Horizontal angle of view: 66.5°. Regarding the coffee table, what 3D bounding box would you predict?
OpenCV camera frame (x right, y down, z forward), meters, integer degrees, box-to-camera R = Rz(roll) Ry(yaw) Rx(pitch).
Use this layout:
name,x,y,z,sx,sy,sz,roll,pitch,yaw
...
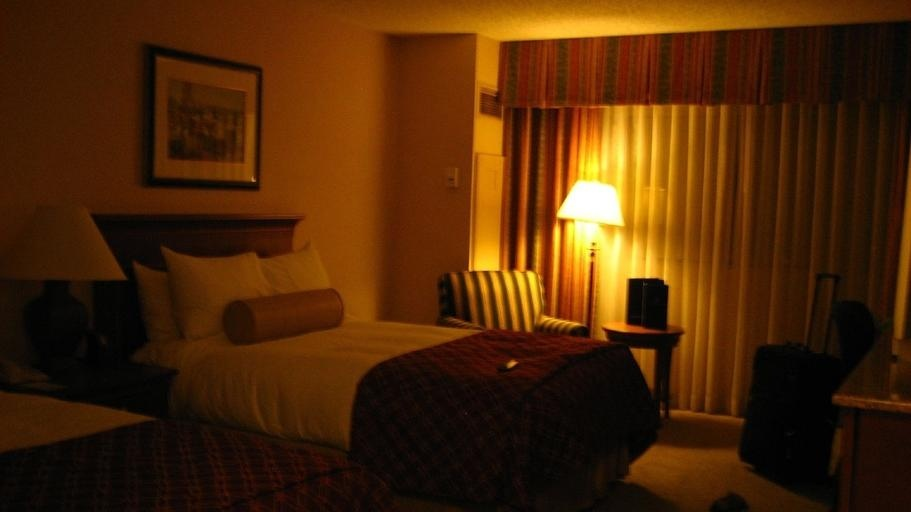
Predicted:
name,x,y,z,sx,sy,sz,roll,pitch,yaw
coffee table,1.693,1.035,6.585,0.846,0.892,0.870,0,1,26

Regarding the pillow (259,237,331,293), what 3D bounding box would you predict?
name,x,y,z,sx,sy,sz,roll,pitch,yaw
pillow,-1.343,0.144,5.919,0.436,0.404,0.122,-2,-38,-34

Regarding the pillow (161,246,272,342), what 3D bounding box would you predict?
name,x,y,z,sx,sy,sz,roll,pitch,yaw
pillow,-1.886,0.255,5.357,0.758,0.682,0.232,-7,-11,-36
